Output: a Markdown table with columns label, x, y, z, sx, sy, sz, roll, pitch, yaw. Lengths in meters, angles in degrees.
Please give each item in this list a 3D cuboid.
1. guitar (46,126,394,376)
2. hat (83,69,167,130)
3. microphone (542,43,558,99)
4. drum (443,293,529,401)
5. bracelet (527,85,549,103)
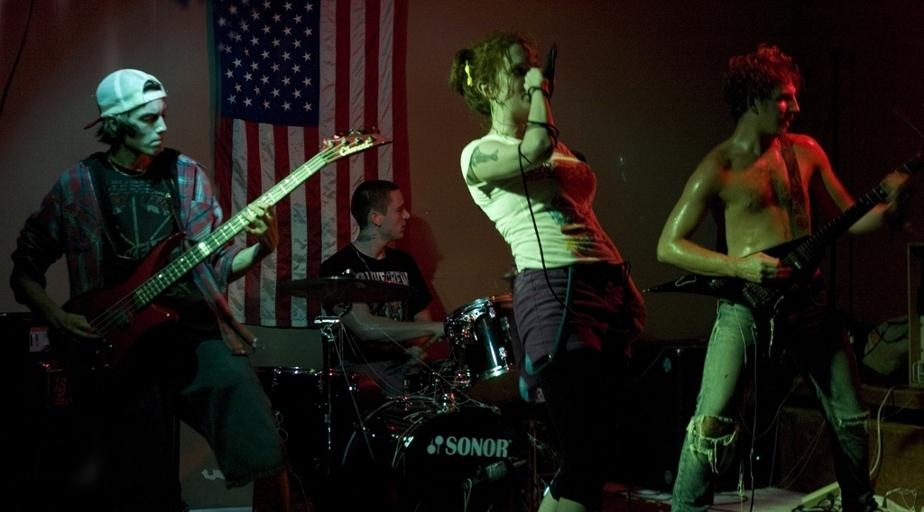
| label | x | y | z | sx | sy | sz | roll | pitch | yaw |
| --- | --- | --- | --- | --- | --- | --- | --- | --- | --- |
| guitar | -1.907 | -0.033 | 6.677 | 2.273 | 0.613 | 0.315 | -41 | 2 | -10 |
| hat | -2.414 | -1.221 | 6.366 | 0.595 | 0.303 | 0.359 | -26 | 11 | 9 |
| microphone | 0.554 | -1.153 | 5.437 | 0.092 | 0.115 | 0.401 | -18 | -22 | -10 |
| drum | 0.255 | 0.670 | 6.587 | 0.674 | 0.603 | 0.707 | -10 | -9 | 15 |
| bracelet | 0.475 | -0.999 | 5.420 | 0.164 | 0.111 | 0.165 | 2 | -4 | 3 |
